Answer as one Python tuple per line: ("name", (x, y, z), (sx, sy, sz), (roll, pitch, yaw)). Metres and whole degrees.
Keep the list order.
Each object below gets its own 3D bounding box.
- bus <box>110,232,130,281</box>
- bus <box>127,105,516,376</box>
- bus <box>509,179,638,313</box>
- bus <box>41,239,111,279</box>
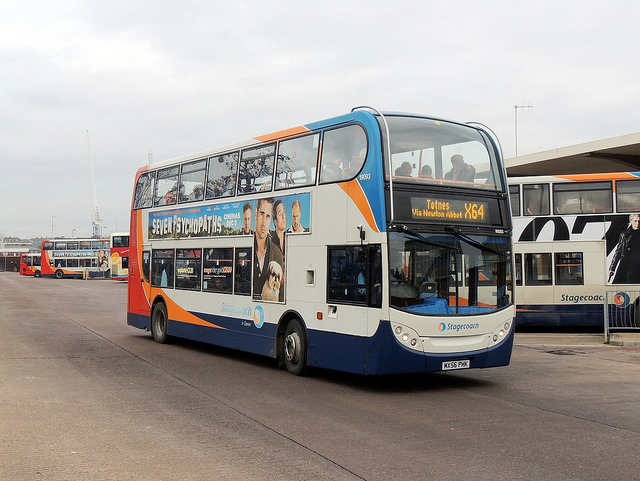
("bus", (-22.621, 1.717, 66.517), (2.658, 5.021, 1.216), (-1, -2, 34))
("bus", (-1.183, 0.218, 15.770), (3.669, 5.415, 12.124), (2, -3, -38))
("bus", (8.661, 0.298, 19.787), (3.809, 3.843, 1.627), (0, 4, 5))
("bus", (-30.357, 2.185, 75.615), (9.751, 4.807, 2.810), (-2, 4, 0))
